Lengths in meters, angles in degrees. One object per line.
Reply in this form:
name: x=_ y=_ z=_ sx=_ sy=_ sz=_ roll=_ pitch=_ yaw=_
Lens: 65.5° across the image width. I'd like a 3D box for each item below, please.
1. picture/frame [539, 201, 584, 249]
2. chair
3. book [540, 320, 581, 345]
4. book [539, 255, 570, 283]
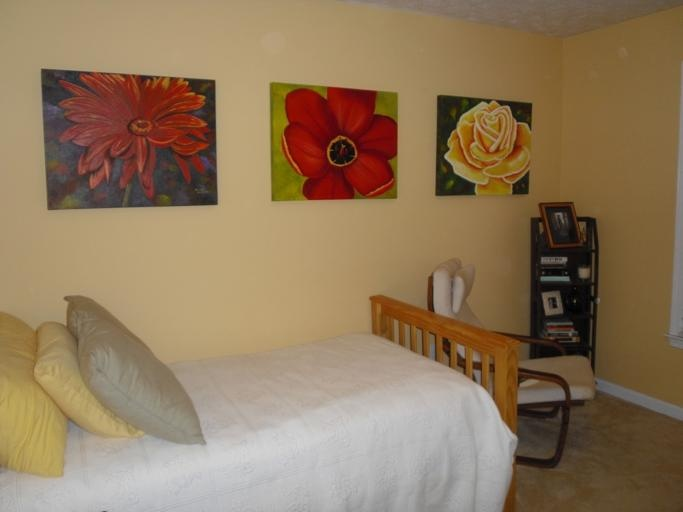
picture/frame: x=1.792 y=-0.239 z=4.356 sx=0.303 sy=0.463 sz=0.070 roll=-4 pitch=-19 yaw=-9
chair: x=1.107 y=0.597 z=4.065 sx=1.325 sy=1.724 sz=1.017 roll=0 pitch=10 yaw=16
book: x=1.810 y=0.628 z=4.368 sx=0.215 sy=0.088 sz=0.224 roll=1 pitch=2 yaw=4
book: x=1.733 y=0.111 z=4.333 sx=0.255 sy=0.285 sz=0.200 roll=0 pitch=-4 yaw=4
